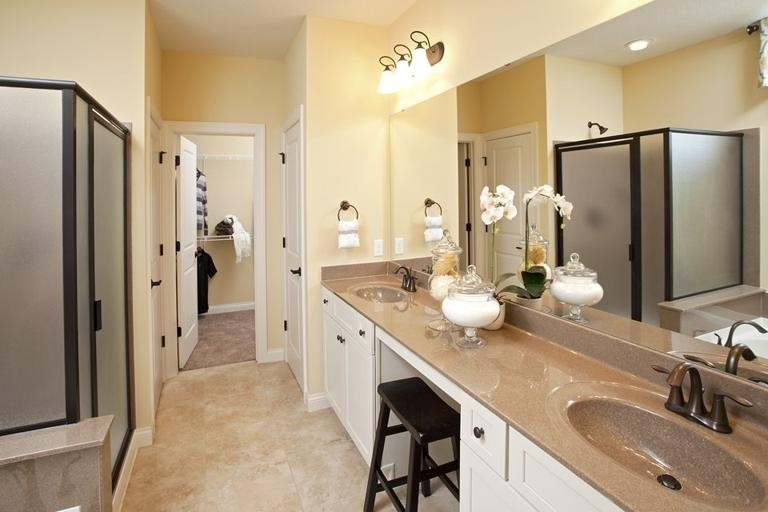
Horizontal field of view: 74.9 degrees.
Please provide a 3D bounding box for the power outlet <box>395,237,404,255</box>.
[{"bbox_3d":[0.122,-0.085,3.973,0.006,0.145,0.108,-12,18,-40],"label":"power outlet"}]

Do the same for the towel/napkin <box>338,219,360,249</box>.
[{"bbox_3d":[-0.278,-0.178,3.897,0.208,0.302,0.054,1,-3,-19],"label":"towel/napkin"}]

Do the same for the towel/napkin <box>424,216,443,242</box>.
[{"bbox_3d":[0.353,-0.206,3.612,0.147,0.165,0.056,1,5,38],"label":"towel/napkin"}]

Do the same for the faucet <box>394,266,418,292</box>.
[{"bbox_3d":[0.177,0.174,3.713,0.154,0.161,0.195,4,-2,-26],"label":"faucet"}]

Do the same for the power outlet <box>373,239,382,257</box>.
[{"bbox_3d":[-0.056,-0.074,4.074,0.122,0.182,0.018,-2,6,-32],"label":"power outlet"}]

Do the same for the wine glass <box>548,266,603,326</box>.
[{"bbox_3d":[1.030,0.196,2.697,0.271,0.314,0.292,-4,6,-10],"label":"wine glass"}]

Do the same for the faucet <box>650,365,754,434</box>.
[{"bbox_3d":[1.280,0.575,2.101,0.221,0.271,0.428,-4,6,-24],"label":"faucet"}]

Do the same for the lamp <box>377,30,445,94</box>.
[{"bbox_3d":[0.239,-1.418,3.612,0.168,0.271,0.560,-3,4,-15],"label":"lamp"}]

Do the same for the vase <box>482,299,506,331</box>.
[{"bbox_3d":[0.637,0.337,2.882,0.123,0.152,0.149,3,6,16],"label":"vase"}]

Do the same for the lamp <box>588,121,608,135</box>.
[{"bbox_3d":[1.062,-0.639,2.483,0.041,0.064,0.093,0,2,-19],"label":"lamp"}]

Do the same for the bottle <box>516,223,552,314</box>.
[{"bbox_3d":[0.831,0.056,2.865,0.181,0.529,0.190,3,-5,0],"label":"bottle"}]
